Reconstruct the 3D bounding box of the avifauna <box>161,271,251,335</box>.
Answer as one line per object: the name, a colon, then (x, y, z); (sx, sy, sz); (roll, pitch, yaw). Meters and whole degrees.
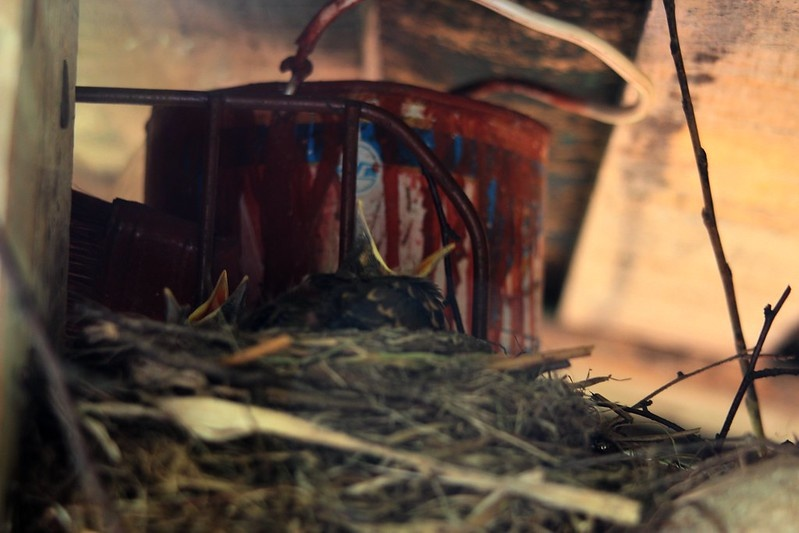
avifauna: (-0.500, 0.090, 3.261); (0.133, 0.136, 0.191); (5, 6, 33)
